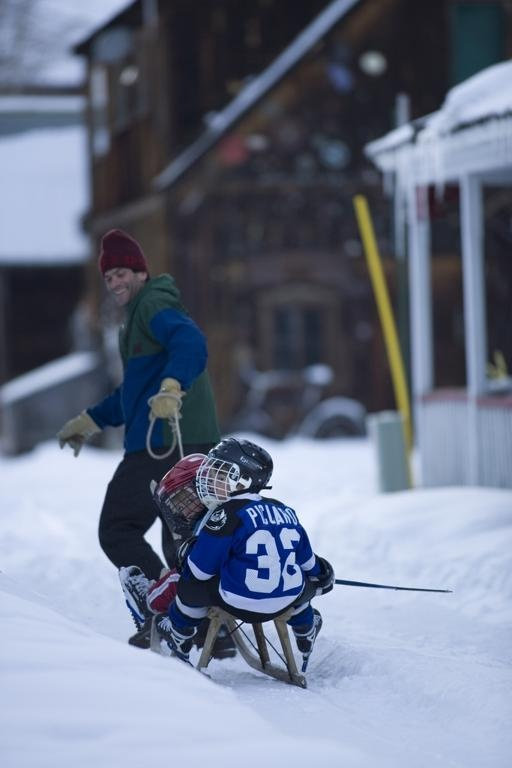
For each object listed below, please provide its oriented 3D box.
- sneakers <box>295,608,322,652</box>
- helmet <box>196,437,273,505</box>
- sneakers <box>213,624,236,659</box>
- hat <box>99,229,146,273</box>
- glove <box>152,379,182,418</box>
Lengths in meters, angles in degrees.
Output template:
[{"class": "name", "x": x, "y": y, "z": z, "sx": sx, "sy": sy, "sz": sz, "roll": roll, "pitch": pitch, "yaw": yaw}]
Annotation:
[{"class": "sneakers", "x": 0.201, "y": 1.010, "z": 5.140, "sx": 0.076, "sy": 0.218, "sz": 0.097, "roll": -3, "pitch": -27, "yaw": 20}, {"class": "helmet", "x": -0.077, "y": 0.355, "z": 5.065, "sx": 0.290, "sy": 0.259, "sz": 0.211, "roll": 16, "pitch": -2, "yaw": -16}, {"class": "sneakers", "x": -0.136, "y": 1.127, "z": 5.540, "sx": 0.117, "sy": 0.078, "sz": 0.112, "roll": 1, "pitch": 0, "yaw": 3}, {"class": "hat", "x": -0.581, "y": -0.569, "z": 5.621, "sx": 0.220, "sy": 0.181, "sz": 0.158, "roll": 10, "pitch": -6, "yaw": -7}, {"class": "glove", "x": -0.344, "y": 0.060, "z": 5.053, "sx": 0.124, "sy": 0.150, "sz": 0.074, "roll": 18, "pitch": 3, "yaw": 20}]
